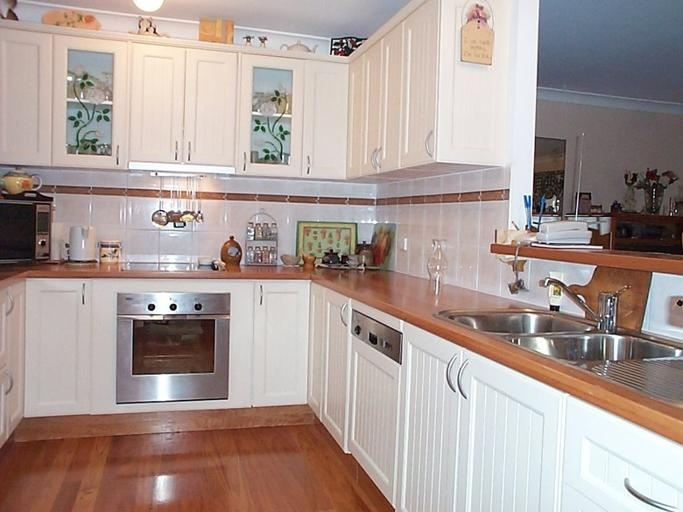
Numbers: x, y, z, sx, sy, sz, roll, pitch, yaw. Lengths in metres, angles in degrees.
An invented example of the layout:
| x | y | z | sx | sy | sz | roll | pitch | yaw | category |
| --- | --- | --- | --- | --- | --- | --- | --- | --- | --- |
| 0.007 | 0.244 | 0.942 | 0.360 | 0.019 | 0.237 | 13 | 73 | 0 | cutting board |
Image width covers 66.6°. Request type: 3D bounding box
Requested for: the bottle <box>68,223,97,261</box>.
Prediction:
| x | y | z | sx | sy | sz | roll | pitch | yaw | category |
| --- | --- | --- | --- | --- | --- | --- | --- | --- | --- |
| -1.811 | -0.095 | 3.660 | 0.162 | 0.255 | 0.249 | 3 | 7 | 5 | bottle |

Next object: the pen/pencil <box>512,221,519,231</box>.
| x | y | z | sx | sy | sz | roll | pitch | yaw | category |
| --- | --- | --- | --- | --- | --- | --- | --- | --- | --- |
| 0.945 | -0.169 | 2.835 | 0.013 | 0.060 | 0.015 | -27 | -26 | 33 | pen/pencil |

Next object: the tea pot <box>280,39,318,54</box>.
| x | y | z | sx | sy | sz | roll | pitch | yaw | category |
| --- | --- | --- | --- | --- | --- | --- | --- | --- | --- |
| -0.322 | -1.609 | 4.005 | 0.270 | 0.153 | 0.194 | -5 | 15 | -22 | tea pot |

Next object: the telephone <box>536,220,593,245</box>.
| x | y | z | sx | sy | sz | roll | pitch | yaw | category |
| --- | --- | --- | --- | --- | --- | --- | --- | --- | --- |
| 1.034 | -0.108 | 2.400 | 0.167 | 0.090 | 0.126 | -1 | -1 | -14 | telephone |

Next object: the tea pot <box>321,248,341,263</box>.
| x | y | z | sx | sy | sz | roll | pitch | yaw | category |
| --- | --- | --- | --- | --- | --- | --- | --- | --- | --- |
| -0.082 | -0.009 | 4.217 | 0.114 | 0.110 | 0.116 | -1 | 2 | 0 | tea pot |

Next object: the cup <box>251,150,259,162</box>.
| x | y | z | sx | sy | sz | roll | pitch | yaw | category |
| --- | --- | --- | --- | --- | --- | --- | --- | --- | --- |
| -0.647 | -0.750 | 3.877 | 0.066 | 0.127 | 0.067 | 1 | 11 | 0 | cup |

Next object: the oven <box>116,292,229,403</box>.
| x | y | z | sx | sy | sz | roll | pitch | yaw | category |
| --- | --- | --- | --- | --- | --- | --- | --- | --- | --- |
| -1.169 | 0.550 | 3.674 | 0.740 | 0.761 | 0.518 | 0 | 13 | -20 | oven |

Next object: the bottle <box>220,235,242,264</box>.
| x | y | z | sx | sy | sz | roll | pitch | yaw | category |
| --- | --- | --- | --- | --- | --- | --- | --- | --- | --- |
| -0.833 | -0.058 | 3.934 | 0.188 | 0.261 | 0.186 | 2 | 7 | 0 | bottle |

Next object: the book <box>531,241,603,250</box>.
| x | y | z | sx | sy | sz | roll | pitch | yaw | category |
| --- | --- | --- | --- | --- | --- | --- | --- | --- | --- |
| 1.038 | -0.048 | 2.385 | 0.318 | 0.026 | 0.163 | 4 | 7 | 14 | book |

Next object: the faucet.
| x | y | z | sx | sy | sz | roll | pitch | yaw | category |
| --- | --- | --- | --- | --- | --- | --- | --- | --- | --- |
| 1.034 | 0.195 | 2.232 | 0.250 | 0.189 | 0.316 | 0 | 7 | -15 | faucet |

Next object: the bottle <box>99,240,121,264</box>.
| x | y | z | sx | sy | sz | roll | pitch | yaw | category |
| --- | --- | --- | --- | --- | --- | --- | --- | --- | --- |
| -1.627 | -0.038 | 3.671 | 0.140 | 0.142 | 0.141 | 0 | 8 | -22 | bottle |

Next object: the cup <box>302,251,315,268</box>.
| x | y | z | sx | sy | sz | roll | pitch | yaw | category |
| --- | --- | --- | --- | --- | --- | --- | --- | --- | --- |
| -0.255 | 0.031 | 4.121 | 0.083 | 0.108 | 0.110 | 0 | -3 | 3 | cup |
